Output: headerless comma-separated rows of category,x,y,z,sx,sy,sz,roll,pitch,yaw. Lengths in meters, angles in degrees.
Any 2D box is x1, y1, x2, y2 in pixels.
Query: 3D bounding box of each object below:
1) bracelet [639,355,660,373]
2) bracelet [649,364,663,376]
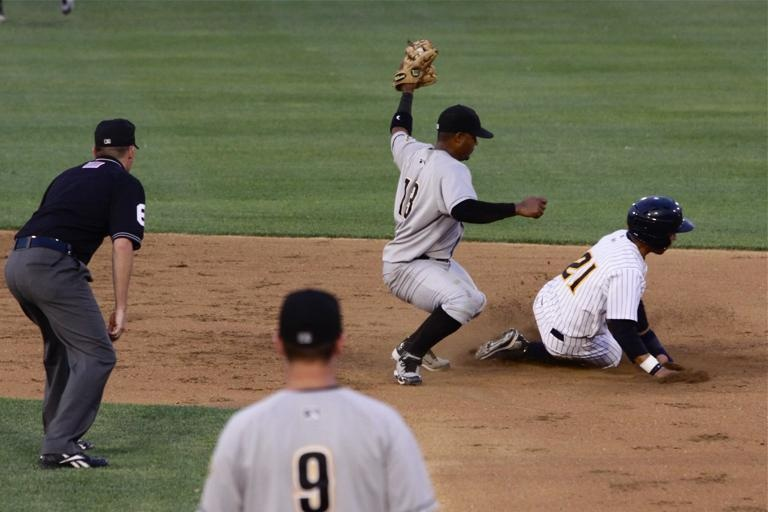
bracelet,4.194,1.696,26.028,0.292,0.298,0.257,22,27,3
bracelet,4.282,1.786,25.912,0.055,0.156,0.130,54,3,12
